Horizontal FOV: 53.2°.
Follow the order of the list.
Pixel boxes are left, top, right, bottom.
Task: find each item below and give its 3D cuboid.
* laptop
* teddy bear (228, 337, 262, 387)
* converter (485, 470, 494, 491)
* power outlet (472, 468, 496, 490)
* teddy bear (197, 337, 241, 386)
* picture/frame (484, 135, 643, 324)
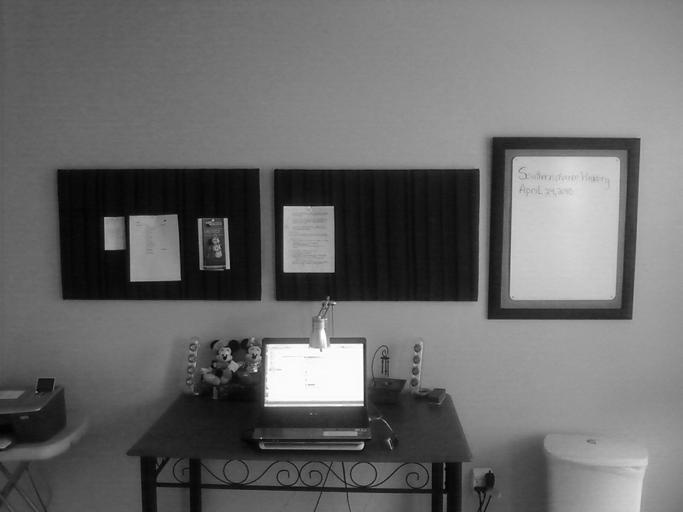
[{"bbox_3d":[-0.154,0.763,3.707,0.681,0.528,0.559,1,-16,1],"label":"laptop"},{"bbox_3d":[-0.558,0.611,3.979,0.181,0.269,0.116,0,-5,20],"label":"teddy bear"},{"bbox_3d":[0.903,1.352,4.097,0.075,0.119,0.044,-3,4,-30],"label":"converter"},{"bbox_3d":[0.850,1.341,4.104,0.143,0.162,0.113,0,-2,3],"label":"power outlet"},{"bbox_3d":[-0.720,0.637,4.038,0.235,0.272,0.109,2,-1,2],"label":"teddy bear"},{"bbox_3d":[1.323,-0.196,4.033,0.931,1.302,0.092,1,3,-1],"label":"picture/frame"}]
